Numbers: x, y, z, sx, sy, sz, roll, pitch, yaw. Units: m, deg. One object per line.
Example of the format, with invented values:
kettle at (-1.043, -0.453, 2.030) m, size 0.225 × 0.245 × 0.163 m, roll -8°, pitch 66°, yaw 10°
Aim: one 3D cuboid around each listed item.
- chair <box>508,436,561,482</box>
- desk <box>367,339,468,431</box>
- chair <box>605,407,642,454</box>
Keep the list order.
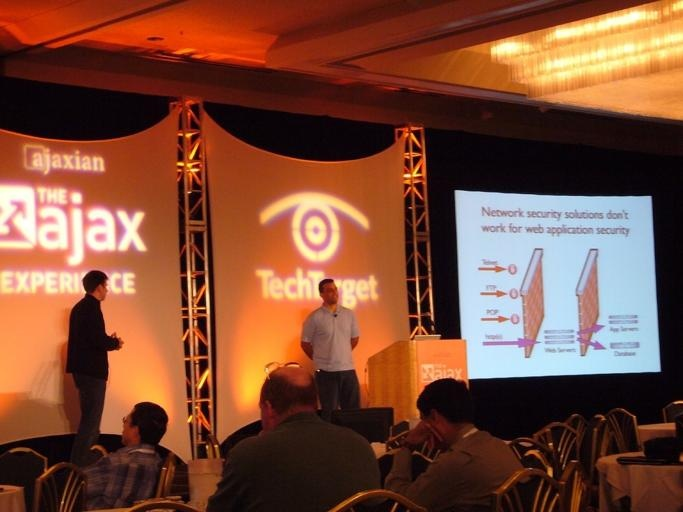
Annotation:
chair at (1.192, 1.214, 4.887) m, size 0.305 × 0.367 × 0.356 m, roll -3°, pitch -1°, yaw 6°
desk at (0.864, 1.407, 8.897) m, size 0.731 × 0.880 × 0.946 m, roll -11°, pitch -12°, yaw 44°
chair at (2.260, 1.392, 6.331) m, size 0.243 × 0.356 × 0.371 m, roll 1°, pitch -3°, yaw 23°
